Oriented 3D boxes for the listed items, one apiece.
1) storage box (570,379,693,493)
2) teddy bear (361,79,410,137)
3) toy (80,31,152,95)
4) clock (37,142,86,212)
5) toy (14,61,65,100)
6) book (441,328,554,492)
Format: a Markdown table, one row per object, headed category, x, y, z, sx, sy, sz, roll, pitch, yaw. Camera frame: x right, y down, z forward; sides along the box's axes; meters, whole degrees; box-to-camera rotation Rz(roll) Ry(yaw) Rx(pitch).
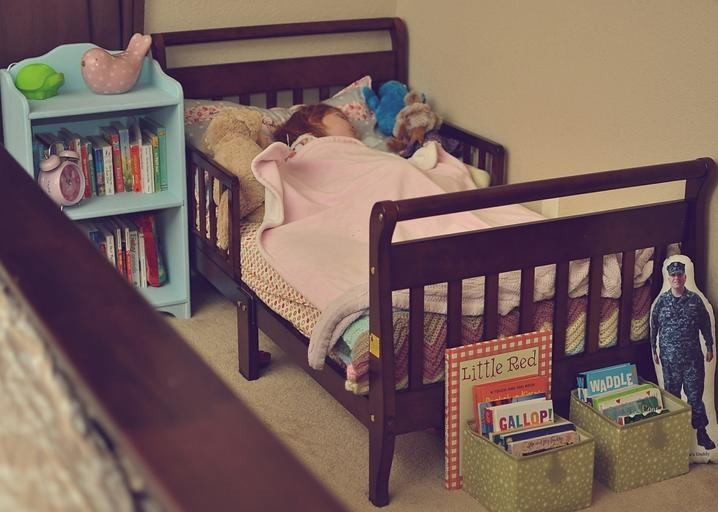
| category | x | y | z | sx | sy | sz | roll | pitch | yaw |
| --- | --- | --- | --- | --- | --- | --- | --- | --- | --- |
| storage box | 0.765 | 0.530 | 1.927 | 0.272 | 0.212 | 0.275 | -12 | 26 | -22 |
| teddy bear | 0.135 | -0.709 | 3.130 | 0.203 | 0.079 | 0.274 | -2 | 68 | -12 |
| toy | -0.895 | -0.734 | 2.596 | 0.289 | 0.213 | 0.178 | -21 | 49 | -28 |
| clock | -1.102 | -0.296 | 2.506 | 0.163 | 0.226 | 0.188 | 5 | 4 | -23 |
| toy | -1.151 | -0.615 | 2.456 | 0.159 | 0.093 | 0.126 | 16 | 40 | 13 |
| book | 0.362 | 0.407 | 1.773 | 0.378 | 0.478 | 0.046 | -7 | 11 | -27 |
